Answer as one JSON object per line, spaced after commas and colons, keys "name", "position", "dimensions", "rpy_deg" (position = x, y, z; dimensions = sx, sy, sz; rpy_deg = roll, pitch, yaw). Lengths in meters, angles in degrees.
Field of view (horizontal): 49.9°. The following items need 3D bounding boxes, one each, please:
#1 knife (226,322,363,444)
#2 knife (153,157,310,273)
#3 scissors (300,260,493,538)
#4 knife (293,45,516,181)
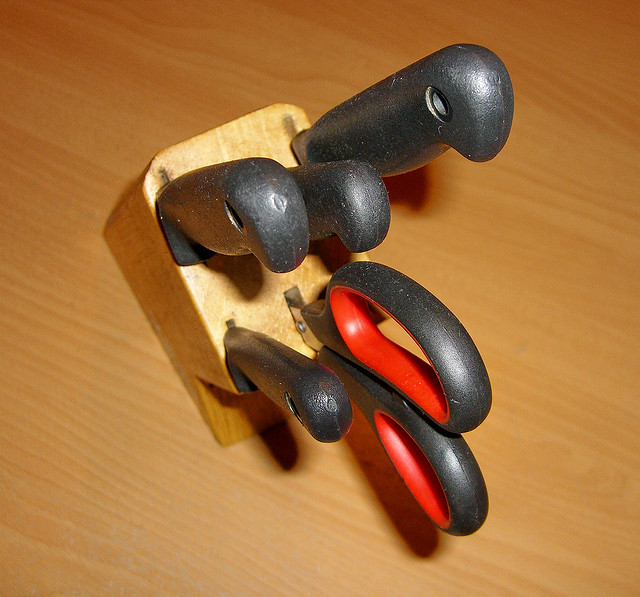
{"name": "knife", "position": [-0.024, 0.063, 0.551], "dimensions": [0.041, 0.057, 0.192], "rpy_deg": [0, 30, -30]}
{"name": "knife", "position": [-0.064, -0.059, 0.470], "dimensions": [0.023, 0.050, 0.098], "rpy_deg": [-26, 18, -21]}
{"name": "scissors", "position": [0.054, 0.098, 0.560], "dimensions": [0.031, 0.253, 0.173], "rpy_deg": [-29, 50, -14]}
{"name": "knife", "position": [0.044, -0.140, 0.551], "dimensions": [0.238, 0.100, 0.053], "rpy_deg": [8, 39, 46]}
